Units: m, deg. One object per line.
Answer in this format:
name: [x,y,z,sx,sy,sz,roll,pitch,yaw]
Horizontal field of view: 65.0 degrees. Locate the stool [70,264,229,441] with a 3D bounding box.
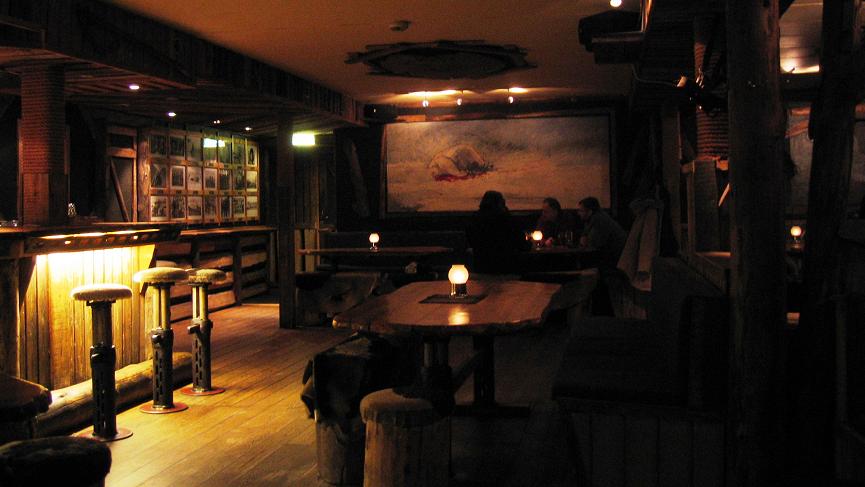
stool: [-2.876,1.115,6.792,0.575,1.215,1.683,-1,-1,14]

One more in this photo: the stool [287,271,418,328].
stool: [-1.295,0.644,9.772,1.424,0.573,0.971,1,3,12]

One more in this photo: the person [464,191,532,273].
person: [0.827,-0.141,8.568,0.795,1.037,0.307,1,12,15]

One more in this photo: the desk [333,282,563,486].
desk: [0.147,0.752,5.122,1.355,0.827,1.902,1,3,14]

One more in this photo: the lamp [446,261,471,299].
lamp: [0.207,0.297,5.477,0.262,0.301,0.239,0,-2,-2]

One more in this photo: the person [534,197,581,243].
person: [1.851,-0.317,10.329,0.691,0.742,0.833,7,16,37]
